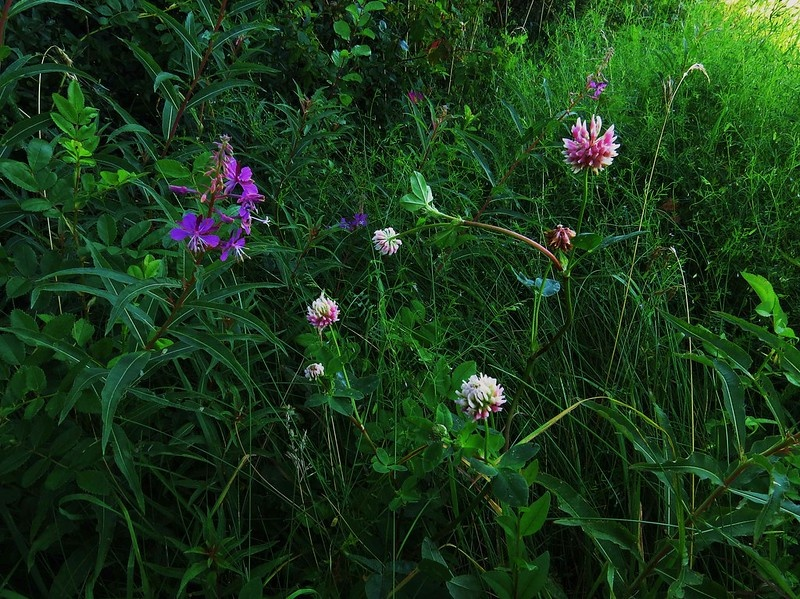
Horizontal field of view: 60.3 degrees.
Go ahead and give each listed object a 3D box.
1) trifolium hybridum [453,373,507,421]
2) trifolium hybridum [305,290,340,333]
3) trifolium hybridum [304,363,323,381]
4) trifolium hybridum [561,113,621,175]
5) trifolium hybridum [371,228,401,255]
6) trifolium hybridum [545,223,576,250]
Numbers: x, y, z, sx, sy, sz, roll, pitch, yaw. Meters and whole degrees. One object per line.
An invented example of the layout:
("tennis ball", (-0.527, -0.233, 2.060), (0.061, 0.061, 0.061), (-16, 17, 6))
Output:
("trifolium hybridum", (0.263, 0.305, 2.092), (0.122, 0.128, 0.111), (7, -18, -44))
("trifolium hybridum", (-0.265, 0.041, 2.333), (0.094, 0.087, 0.109), (-7, 7, -4))
("trifolium hybridum", (-0.289, 0.231, 2.319), (0.057, 0.071, 0.024), (-12, 3, 19))
("trifolium hybridum", (0.608, -0.501, 2.198), (0.129, 0.082, 0.128), (5, 0, -22))
("trifolium hybridum", (-0.046, -0.211, 2.531), (0.092, 0.075, 0.116), (-6, 68, -15))
("trifolium hybridum", (0.516, -0.202, 2.202), (0.072, 0.089, 0.058), (7, 2, -4))
